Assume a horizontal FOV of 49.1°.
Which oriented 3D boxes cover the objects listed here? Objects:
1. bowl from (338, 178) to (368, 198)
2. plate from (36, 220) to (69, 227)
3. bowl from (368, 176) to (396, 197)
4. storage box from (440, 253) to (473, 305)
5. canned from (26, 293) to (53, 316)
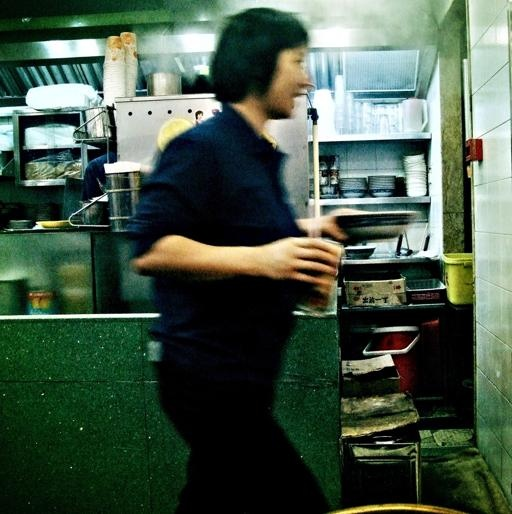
[{"bbox_3d":[0.698,-0.496,4.119,0.156,0.108,0.161,-1,4,0],"label":"bowl"},{"bbox_3d":[-0.963,-0.148,2.676,0.144,0.037,0.107,-2,7,-6],"label":"plate"},{"bbox_3d":[0.920,-0.516,4.106,0.175,0.126,0.158,0,9,9],"label":"bowl"},{"bbox_3d":[1.324,0.165,3.577,0.254,0.298,0.371,0,-1,9],"label":"storage box"},{"bbox_3d":[-1.013,0.223,2.650,0.107,0.117,0.106,2,-2,0],"label":"canned"}]
